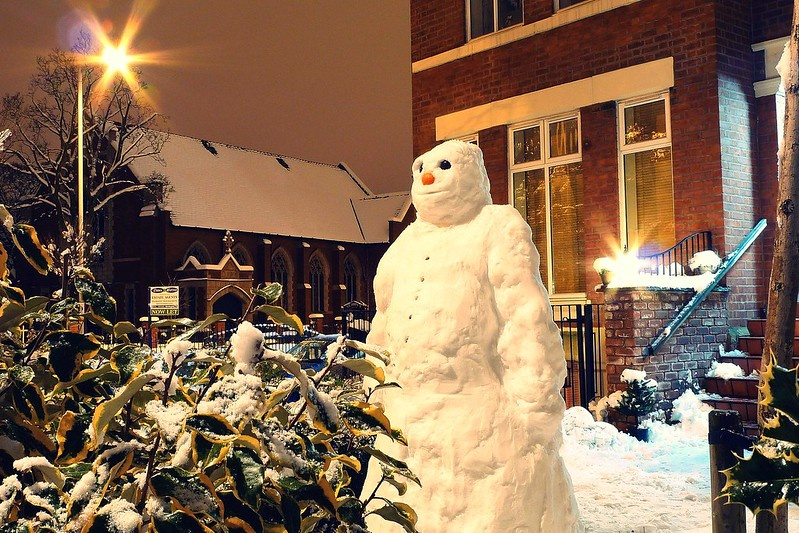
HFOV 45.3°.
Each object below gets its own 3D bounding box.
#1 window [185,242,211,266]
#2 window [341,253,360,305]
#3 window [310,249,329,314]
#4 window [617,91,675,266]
[{"bbox_3d":[-7.529,-0.513,35.674,0.088,1.084,0.734,-5,-8,40],"label":"window"},{"bbox_3d":[-2.243,0.652,43.920,0.165,2.266,0.826,-4,1,40],"label":"window"},{"bbox_3d":[-3.613,0.708,42.184,0.150,2.690,1.037,-7,-8,42],"label":"window"},{"bbox_3d":[4.620,-1.713,17.936,1.005,2.918,0.439,-3,-7,28],"label":"window"}]
